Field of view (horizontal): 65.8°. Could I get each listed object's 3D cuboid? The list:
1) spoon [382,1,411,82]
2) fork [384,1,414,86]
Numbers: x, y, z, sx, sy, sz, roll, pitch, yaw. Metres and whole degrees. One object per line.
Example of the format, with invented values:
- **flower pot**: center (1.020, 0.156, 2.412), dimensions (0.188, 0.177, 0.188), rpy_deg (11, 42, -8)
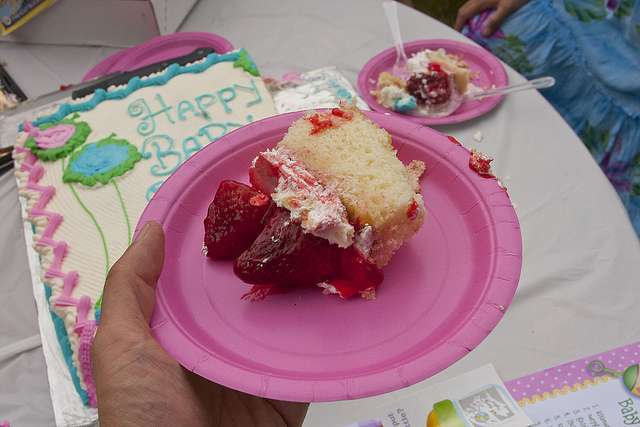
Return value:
- **spoon**: center (0.395, -0.867, 2.552), dimensions (0.093, 0.067, 0.477), rpy_deg (-15, 68, 17)
- **fork**: center (0.398, -0.870, 2.507), dimensions (0.095, 0.071, 0.499), rpy_deg (-15, 75, 17)
